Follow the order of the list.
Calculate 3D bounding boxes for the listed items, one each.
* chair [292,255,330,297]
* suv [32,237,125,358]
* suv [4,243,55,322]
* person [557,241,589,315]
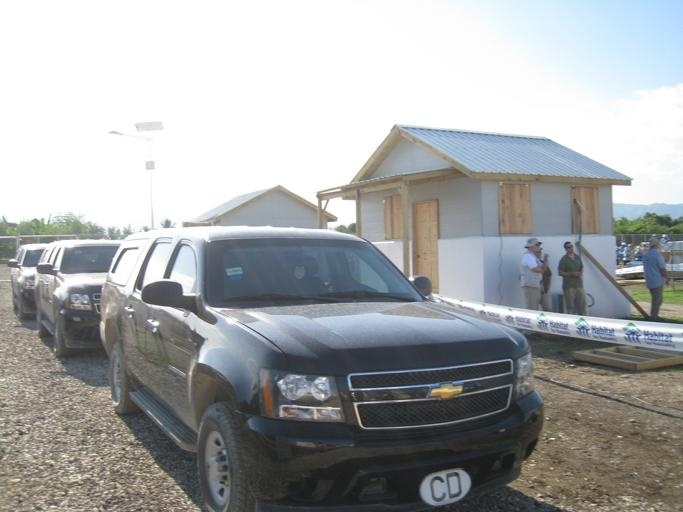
[{"bbox_3d":[-0.272,0.196,4.509,0.320,0.397,0.357,12,-20,-38],"label":"chair"},{"bbox_3d":[-5.122,0.716,9.911,1.751,1.320,3.105,0,-1,-34],"label":"suv"},{"bbox_3d":[-8.616,0.724,14.546,1.721,1.501,3.356,-1,0,-29],"label":"suv"},{"bbox_3d":[5.850,0.564,12.838,0.516,1.692,0.699,0,0,43],"label":"person"}]
